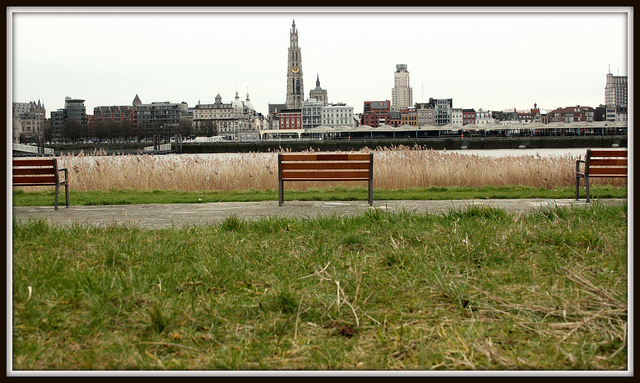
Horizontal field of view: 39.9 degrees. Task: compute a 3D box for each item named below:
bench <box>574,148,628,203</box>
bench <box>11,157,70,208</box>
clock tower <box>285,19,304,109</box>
[{"bbox_3d":[5.616,-0.350,18.364,0.525,0.865,1.408,-1,2,29],"label":"bench"},{"bbox_3d":[-6.025,-0.155,18.934,1.155,0.700,0.418,2,6,10],"label":"bench"},{"bbox_3d":[-6.291,-30.709,215.420,3.441,20.375,5.206,-4,9,-12],"label":"clock tower"}]
